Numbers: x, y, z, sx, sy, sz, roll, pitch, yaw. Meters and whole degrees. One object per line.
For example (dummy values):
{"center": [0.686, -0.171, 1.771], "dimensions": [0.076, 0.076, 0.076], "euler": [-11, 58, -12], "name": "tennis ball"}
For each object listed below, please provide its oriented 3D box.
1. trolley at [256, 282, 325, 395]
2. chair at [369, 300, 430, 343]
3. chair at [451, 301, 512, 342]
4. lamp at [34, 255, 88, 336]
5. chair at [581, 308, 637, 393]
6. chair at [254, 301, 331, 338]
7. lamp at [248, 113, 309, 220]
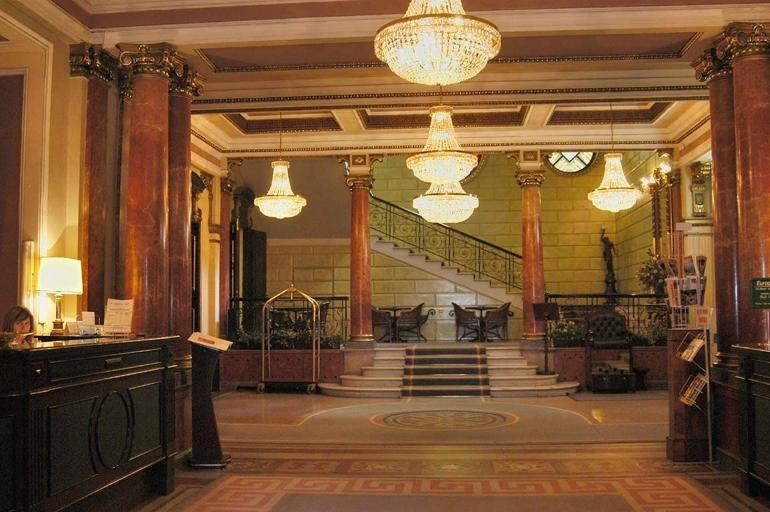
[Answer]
{"center": [-2.117, 1.899, 14.121], "dimensions": [1.154, 2.354, 1.452], "euler": [1, -2, -26], "name": "trolley"}
{"center": [0.431, 1.796, 16.683], "dimensions": [1.404, 1.151, 1.386], "euler": [1, -2, 0], "name": "chair"}
{"center": [2.589, 1.939, 16.816], "dimensions": [2.121, 1.255, 1.392], "euler": [-2, 4, 9], "name": "chair"}
{"center": [-3.975, 0.489, 7.658], "dimensions": [0.566, 0.987, 0.541], "euler": [-3, -6, 24], "name": "lamp"}
{"center": [4.663, 1.984, 13.030], "dimensions": [0.973, 1.577, 1.250], "euler": [-1, 2, 17], "name": "chair"}
{"center": [-2.249, 1.627, 14.854], "dimensions": [1.949, 0.979, 1.399], "euler": [-1, -2, 8], "name": "chair"}
{"center": [-2.320, -1.748, 13.224], "dimensions": [1.338, 2.243, 1.315], "euler": [3, -3, -28], "name": "lamp"}
